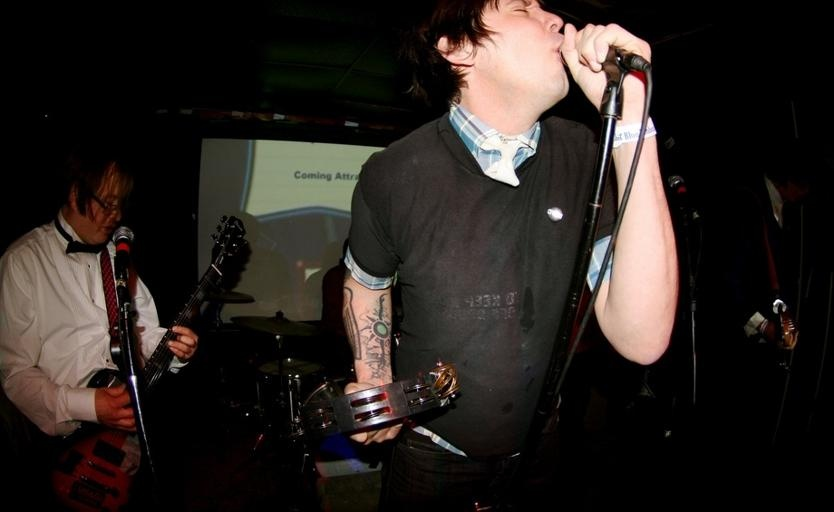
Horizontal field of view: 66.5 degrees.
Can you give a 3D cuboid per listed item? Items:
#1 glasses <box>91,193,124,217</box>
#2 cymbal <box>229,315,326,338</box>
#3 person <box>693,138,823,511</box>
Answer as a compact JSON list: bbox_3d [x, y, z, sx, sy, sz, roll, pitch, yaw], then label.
[{"bbox_3d":[-2.888,-0.488,5.923,0.236,0.071,0.225,26,4,25],"label":"glasses"},{"bbox_3d":[-1.555,0.805,7.252,0.508,0.110,0.508,14,4,34],"label":"cymbal"},{"bbox_3d":[3.318,0.566,6.265,1.049,3.471,0.948,6,7,22],"label":"person"}]
